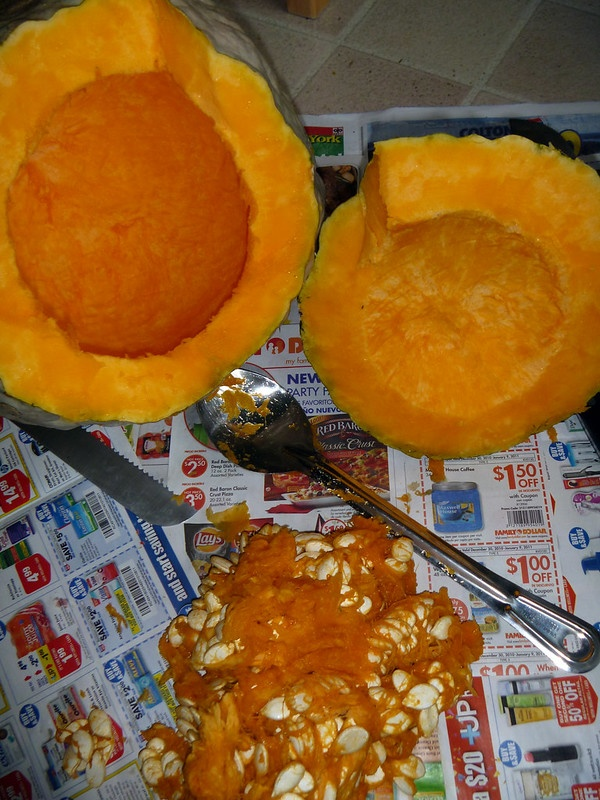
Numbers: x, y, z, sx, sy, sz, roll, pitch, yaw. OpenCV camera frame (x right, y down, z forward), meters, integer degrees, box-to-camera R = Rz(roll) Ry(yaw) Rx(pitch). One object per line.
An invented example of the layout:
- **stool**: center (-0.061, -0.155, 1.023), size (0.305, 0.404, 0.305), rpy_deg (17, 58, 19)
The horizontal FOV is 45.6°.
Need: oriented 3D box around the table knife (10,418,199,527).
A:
- **table knife**: center (-0.231, 0.092, 0.862), size (0.283, 0.005, 0.038), rpy_deg (29, 102, 6)
